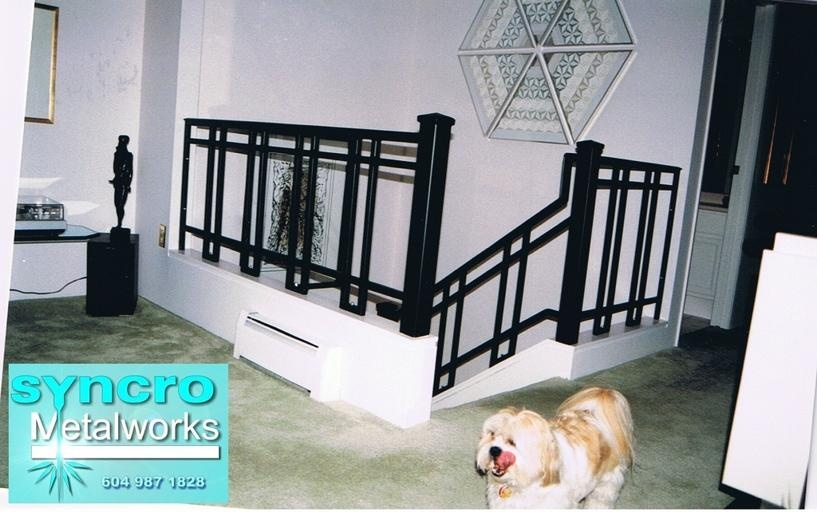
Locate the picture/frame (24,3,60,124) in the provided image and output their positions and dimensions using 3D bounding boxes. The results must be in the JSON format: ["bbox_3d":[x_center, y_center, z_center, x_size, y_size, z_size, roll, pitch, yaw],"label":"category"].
[{"bbox_3d":[-2.870,-1.520,4.583,0.280,0.922,0.091,-4,14,-33],"label":"picture/frame"}]

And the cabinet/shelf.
[{"bbox_3d":[2.966,0.074,5.802,0.155,1.107,0.305,-7,16,-42],"label":"cabinet/shelf"}]
